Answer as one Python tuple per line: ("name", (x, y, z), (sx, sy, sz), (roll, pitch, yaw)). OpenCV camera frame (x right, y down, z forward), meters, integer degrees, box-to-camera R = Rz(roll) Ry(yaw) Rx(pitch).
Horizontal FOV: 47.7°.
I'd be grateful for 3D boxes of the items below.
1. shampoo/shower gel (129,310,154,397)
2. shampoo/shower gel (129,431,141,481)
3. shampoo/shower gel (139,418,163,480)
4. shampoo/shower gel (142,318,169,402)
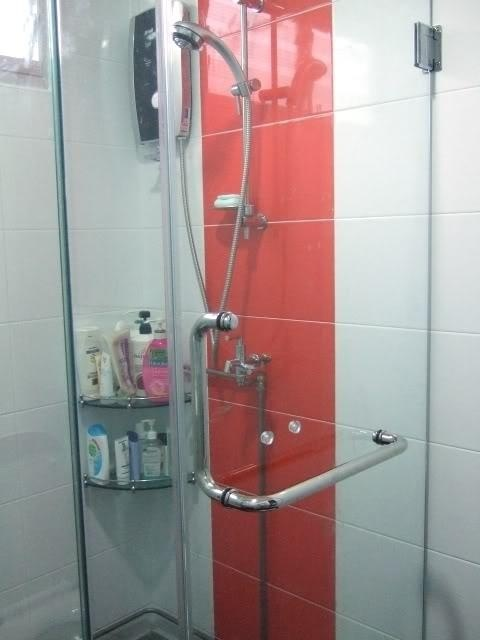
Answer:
("shampoo/shower gel", (-0.172, 0.062, 0.953), (0.035, 0.136, 0.038), (5, 8, 12))
("shampoo/shower gel", (-0.192, 0.246, 0.979), (0.025, 0.096, 0.016), (1, 8, 12))
("shampoo/shower gel", (-0.155, 0.226, 0.965), (0.036, 0.106, 0.025), (0, 11, 0))
("shampoo/shower gel", (-0.143, 0.072, 0.923), (0.068, 0.138, 0.021), (5, 9, 34))
